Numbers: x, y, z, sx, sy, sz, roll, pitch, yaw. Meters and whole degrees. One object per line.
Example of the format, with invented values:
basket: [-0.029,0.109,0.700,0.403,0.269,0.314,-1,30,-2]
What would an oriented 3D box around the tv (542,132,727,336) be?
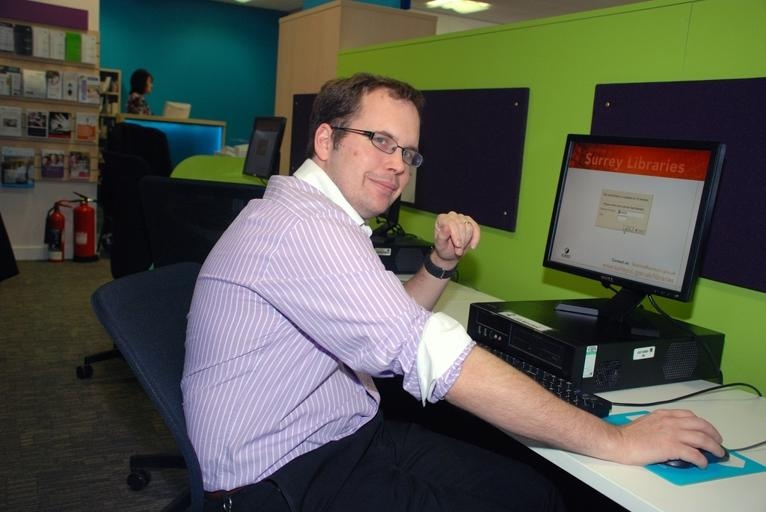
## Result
tv: [0.880,-0.076,1.989,0.311,0.730,0.607,-3,9,-37]

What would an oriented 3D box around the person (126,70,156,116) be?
person: [-3.111,-2.105,7.406,0.287,0.548,0.789,-1,16,-24]

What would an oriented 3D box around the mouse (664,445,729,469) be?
mouse: [0.849,0.552,1.573,0.115,0.029,0.076,2,2,-4]

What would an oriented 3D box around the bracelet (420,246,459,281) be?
bracelet: [0.210,0.018,2.294,0.138,0.178,0.068,7,-29,-1]

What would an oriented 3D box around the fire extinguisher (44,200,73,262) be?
fire extinguisher: [-3.128,-0.235,5.581,0.227,0.591,0.158,-3,16,-32]

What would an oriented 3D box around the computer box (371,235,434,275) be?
computer box: [0.087,-0.010,2.740,0.185,0.120,0.238,12,14,39]
